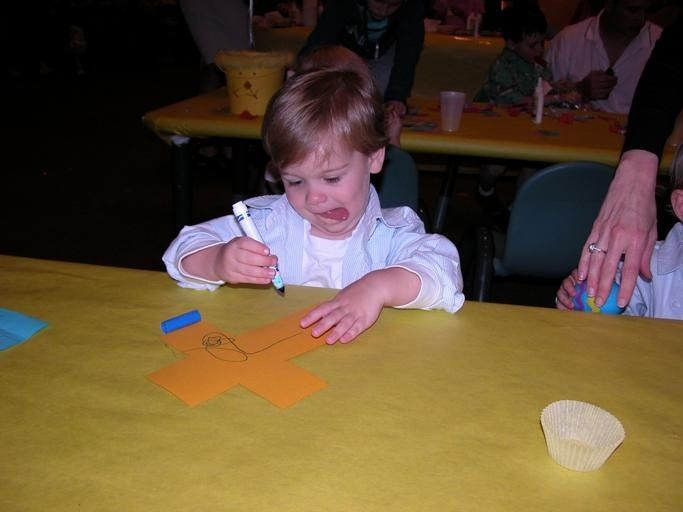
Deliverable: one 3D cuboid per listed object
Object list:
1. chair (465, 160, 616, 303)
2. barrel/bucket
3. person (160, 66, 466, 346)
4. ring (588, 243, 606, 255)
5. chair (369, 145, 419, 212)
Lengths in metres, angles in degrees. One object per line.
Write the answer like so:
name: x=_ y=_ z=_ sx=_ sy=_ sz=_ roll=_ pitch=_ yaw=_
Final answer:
chair: x=0.498 y=-0.146 z=1.836 sx=0.369 sy=0.619 sz=0.441 roll=-3 pitch=37 yaw=-1
barrel/bucket: x=-0.361 y=-0.709 z=2.306 sx=0.276 sy=0.339 sz=0.355 roll=-11 pitch=28 yaw=-32
person: x=-0.054 y=0.027 z=1.299 sx=0.708 sy=0.874 sz=0.545 roll=7 pitch=25 yaw=18
ring: x=0.562 y=-0.017 z=1.165 sx=0.028 sy=0.018 sz=0.015 roll=10 pitch=63 yaw=47
chair: x=0.179 y=-0.242 z=1.761 sx=0.142 sy=0.206 sz=0.145 roll=10 pitch=27 yaw=9
